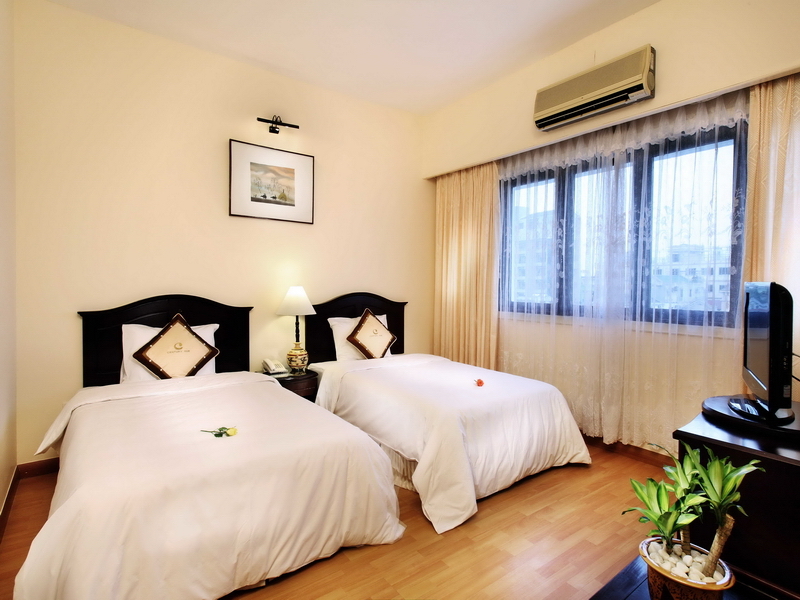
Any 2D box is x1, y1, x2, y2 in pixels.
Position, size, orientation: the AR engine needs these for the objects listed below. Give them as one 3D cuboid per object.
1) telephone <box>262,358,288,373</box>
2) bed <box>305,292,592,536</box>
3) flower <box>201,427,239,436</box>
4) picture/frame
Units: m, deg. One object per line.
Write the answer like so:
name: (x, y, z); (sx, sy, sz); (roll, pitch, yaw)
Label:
telephone: (-1.143, 0.600, 4.978); (0.139, 0.063, 0.159); (0, 12, -25)
bed: (0.158, 0.743, 4.691); (1.450, 1.249, 1.942); (-1, 0, -38)
flower: (-1.117, 0.820, 3.421); (0.162, 0.034, 0.089); (6, 2, 14)
picture/frame: (-1.221, -1.102, 5.092); (0.782, 0.716, 0.027); (4, -6, -38)
